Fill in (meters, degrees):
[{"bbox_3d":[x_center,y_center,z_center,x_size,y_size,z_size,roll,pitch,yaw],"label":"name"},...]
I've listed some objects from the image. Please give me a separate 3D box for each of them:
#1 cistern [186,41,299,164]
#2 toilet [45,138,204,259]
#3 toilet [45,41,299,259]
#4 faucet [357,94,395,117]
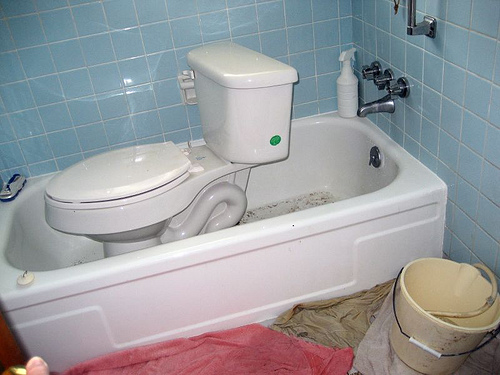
[{"bbox_3d":[-0.051,-0.326,1.739,0.419,0.529,0.467,-8,35,-15],"label":"cistern"},{"bbox_3d":[-0.543,0.113,1.674,0.638,0.478,0.527,-12,27,-23],"label":"toilet"},{"bbox_3d":[-0.383,-0.081,1.695,1.048,0.907,0.605,-12,27,-24],"label":"toilet"},{"bbox_3d":[0.571,-0.371,1.738,0.149,0.088,0.099,-13,38,-21],"label":"faucet"}]
